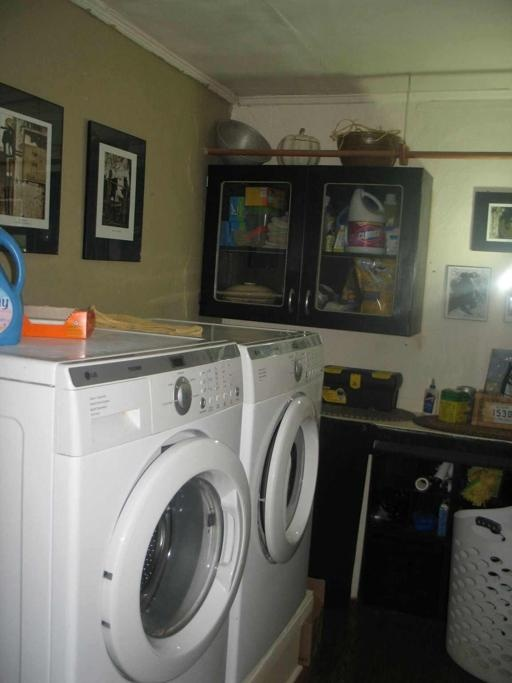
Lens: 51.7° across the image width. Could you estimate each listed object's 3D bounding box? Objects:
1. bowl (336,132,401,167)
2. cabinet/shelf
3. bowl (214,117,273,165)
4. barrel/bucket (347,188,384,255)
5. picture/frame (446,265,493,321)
[{"bbox_3d":[0.517,-0.874,2.395,0.211,0.115,0.181,3,11,11],"label":"bowl"},{"bbox_3d":[0.318,-0.445,2.476,0.716,0.570,0.271,7,10,16],"label":"cabinet/shelf"},{"bbox_3d":[-0.074,-0.988,2.608,0.298,0.195,0.186,5,1,2],"label":"bowl"},{"bbox_3d":[0.506,-0.563,2.562,0.226,0.418,0.253,0,6,14],"label":"barrel/bucket"},{"bbox_3d":[1.030,-0.237,2.520,0.222,0.330,0.013,4,5,21],"label":"picture/frame"}]
